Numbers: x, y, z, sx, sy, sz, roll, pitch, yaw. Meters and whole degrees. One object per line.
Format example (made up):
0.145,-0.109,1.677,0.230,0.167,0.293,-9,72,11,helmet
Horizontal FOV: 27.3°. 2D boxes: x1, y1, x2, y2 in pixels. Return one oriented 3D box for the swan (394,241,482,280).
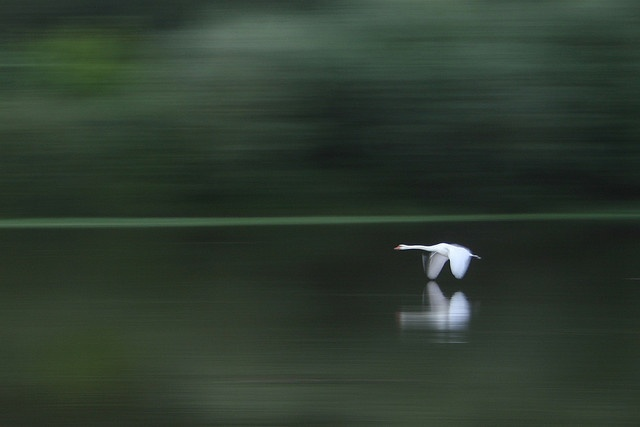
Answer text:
0.559,0.221,6.168,0.343,0.179,0.303,2,7,14,swan
